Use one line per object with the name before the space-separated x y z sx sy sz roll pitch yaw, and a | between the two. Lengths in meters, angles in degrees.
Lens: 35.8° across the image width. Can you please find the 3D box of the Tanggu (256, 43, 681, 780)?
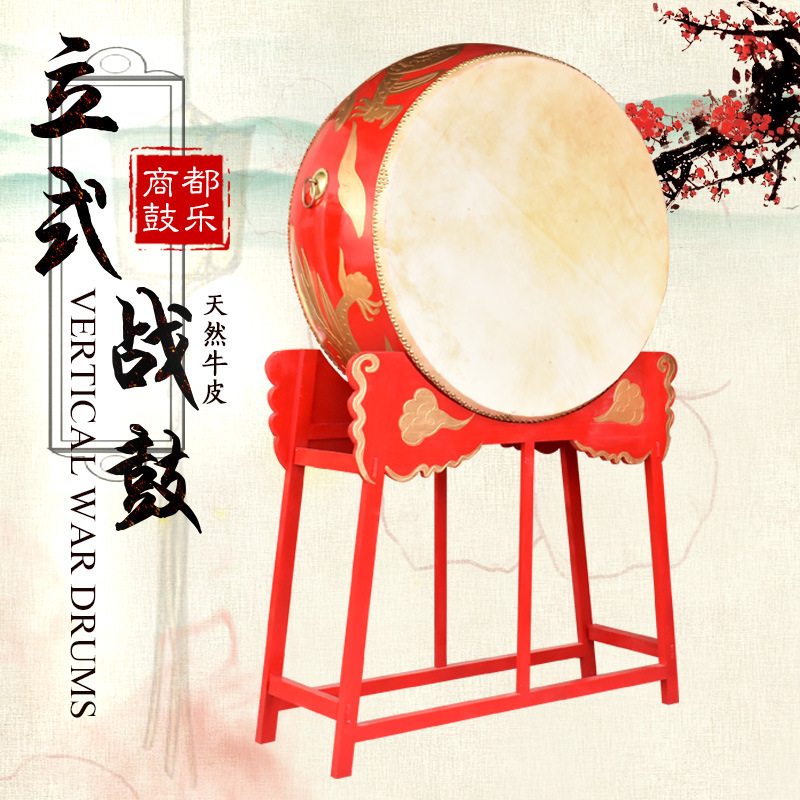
Tanggu | 0.181 0.005 3.033 1.043 1.683 0.582 -4 11 -31
